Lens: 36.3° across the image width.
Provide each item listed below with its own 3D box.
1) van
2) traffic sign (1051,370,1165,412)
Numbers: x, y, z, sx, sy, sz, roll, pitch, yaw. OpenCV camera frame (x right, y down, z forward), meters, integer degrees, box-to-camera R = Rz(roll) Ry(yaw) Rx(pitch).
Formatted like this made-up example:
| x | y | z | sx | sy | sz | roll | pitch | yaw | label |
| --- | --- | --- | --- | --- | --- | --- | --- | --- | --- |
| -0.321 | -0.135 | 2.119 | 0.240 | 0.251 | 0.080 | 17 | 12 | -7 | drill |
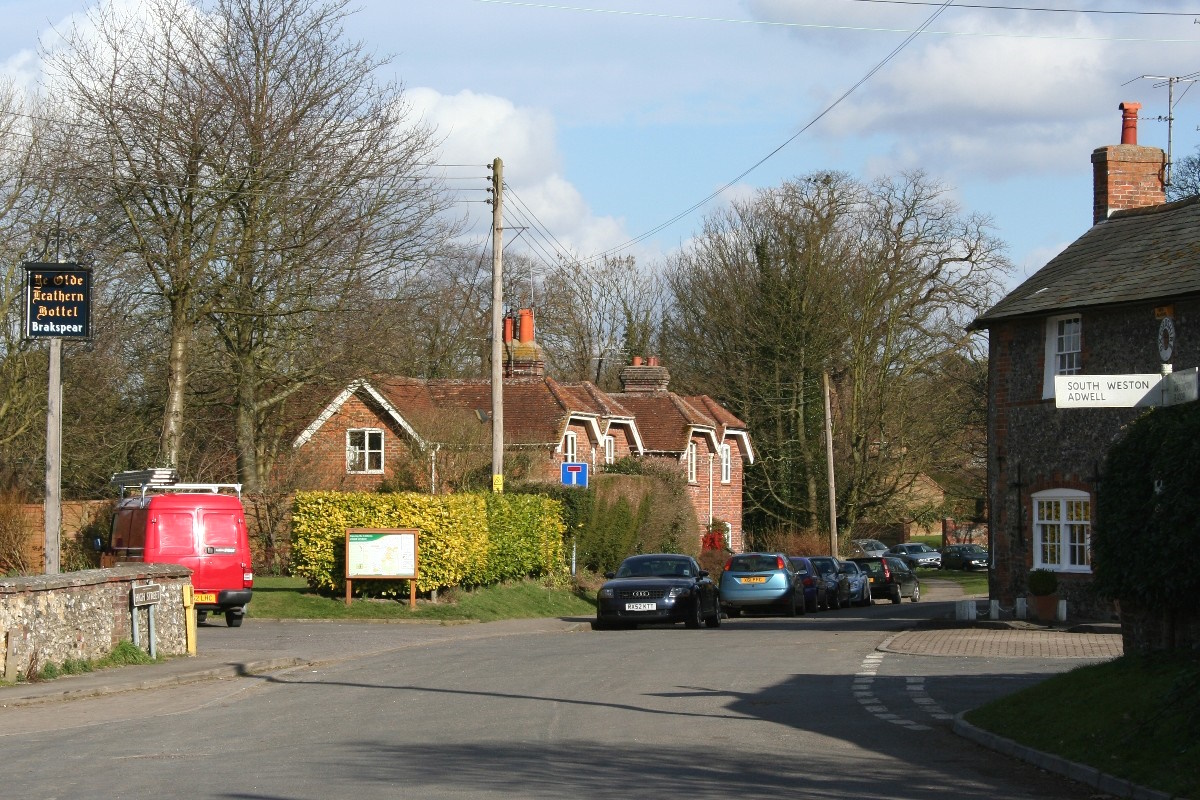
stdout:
| x | y | z | sx | sy | sz | roll | pitch | yaw | label |
| --- | --- | --- | --- | --- | --- | --- | --- | --- | --- |
| -10.184 | 3.555 | 44.388 | 2.671 | 3.473 | 5.614 | 0 | -2 | -21 | van |
| 9.170 | -0.196 | 33.085 | 1.797 | 0.665 | 0.836 | -5 | -9 | 24 | traffic sign |
